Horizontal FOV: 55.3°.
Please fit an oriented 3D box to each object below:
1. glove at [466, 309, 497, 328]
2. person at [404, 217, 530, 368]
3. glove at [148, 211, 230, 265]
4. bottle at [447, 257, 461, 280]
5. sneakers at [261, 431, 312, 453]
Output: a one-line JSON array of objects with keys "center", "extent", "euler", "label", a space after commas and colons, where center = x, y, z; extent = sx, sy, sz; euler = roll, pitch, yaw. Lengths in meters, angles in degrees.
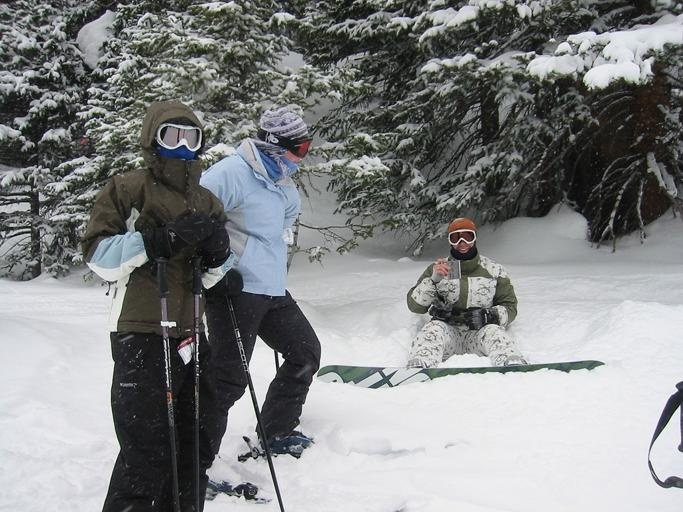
[{"center": [1.499, 0.657, 6.870], "extent": [0.326, 0.223, 0.113], "euler": [1, 6, 13], "label": "glove"}, {"center": [1.252, 0.406, 6.700], "extent": [1.119, 1.556, 2.059], "euler": [0, 5, 10], "label": "person"}, {"center": [-0.968, -0.101, 4.129], "extent": [0.406, 0.312, 0.205], "euler": [-10, 37, -22], "label": "glove"}, {"center": [1.198, 0.119, 6.911], "extent": [0.121, 0.200, 0.158], "euler": [1, 6, 7], "label": "bottle"}, {"center": [-0.401, 1.416, 5.100], "extent": [0.280, 0.115, 0.208], "euler": [0, -8, -32], "label": "sneakers"}]
